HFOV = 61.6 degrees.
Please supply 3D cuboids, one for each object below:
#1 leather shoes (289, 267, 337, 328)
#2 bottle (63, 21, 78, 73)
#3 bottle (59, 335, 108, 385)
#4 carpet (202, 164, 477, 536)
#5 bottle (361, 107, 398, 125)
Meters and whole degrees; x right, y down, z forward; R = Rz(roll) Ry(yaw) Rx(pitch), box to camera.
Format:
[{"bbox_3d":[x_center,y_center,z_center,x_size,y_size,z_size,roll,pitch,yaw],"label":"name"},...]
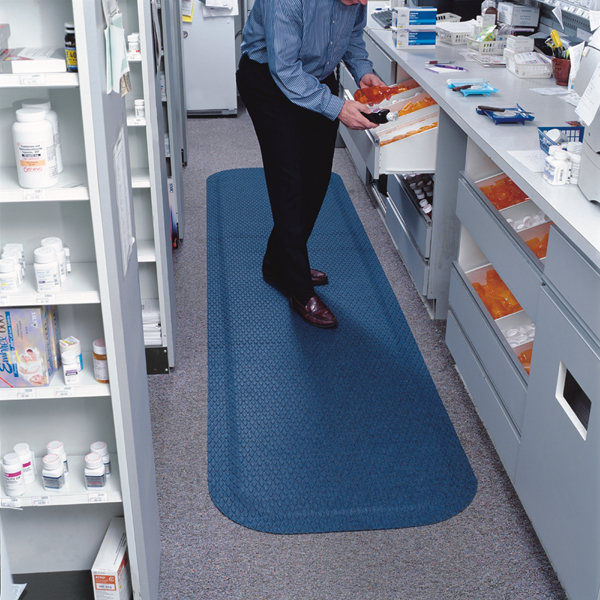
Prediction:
[{"bbox_3d":[0.063,0.012,2.770,0.159,0.144,0.413,-22,56,-18],"label":"leather shoes"},{"bbox_3d":[-0.367,-0.402,0.803,0.025,0.061,0.129,-12,33,-19],"label":"bottle"},{"bbox_3d":[-0.451,0.124,1.109,0.119,0.113,0.080,0,21,-2],"label":"bottle"},{"bbox_3d":[-0.001,0.178,2.864,0.946,0.018,2.987,1,21,-7],"label":"carpet"},{"bbox_3d":[0.376,-0.858,2.366,0.171,0.063,0.134,9,34,5],"label":"bottle"}]
